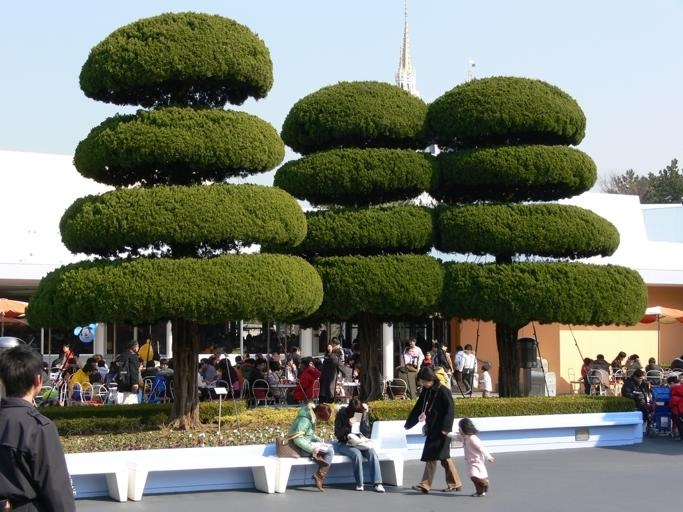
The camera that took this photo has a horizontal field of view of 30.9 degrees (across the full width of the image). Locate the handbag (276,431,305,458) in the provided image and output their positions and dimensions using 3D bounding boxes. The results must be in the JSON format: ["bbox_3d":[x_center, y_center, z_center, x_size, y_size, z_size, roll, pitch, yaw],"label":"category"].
[{"bbox_3d":[-0.911,3.334,21.495,0.415,0.427,0.322,12,-14,-24],"label":"handbag"}]

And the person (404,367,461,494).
[{"bbox_3d":[1.682,3.293,22.543,1.256,2.442,1.026,11,-26,-13],"label":"person"}]

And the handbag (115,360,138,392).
[{"bbox_3d":[-4.703,2.621,26.870,0.636,0.715,0.382,1,-3,0],"label":"handbag"}]

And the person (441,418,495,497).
[{"bbox_3d":[2.276,3.509,21.514,0.773,1.321,0.522,-2,-5,11],"label":"person"}]

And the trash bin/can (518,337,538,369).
[{"bbox_3d":[4.379,2.240,28.324,0.563,0.735,0.608,0,-3,-3],"label":"trash bin/can"}]
